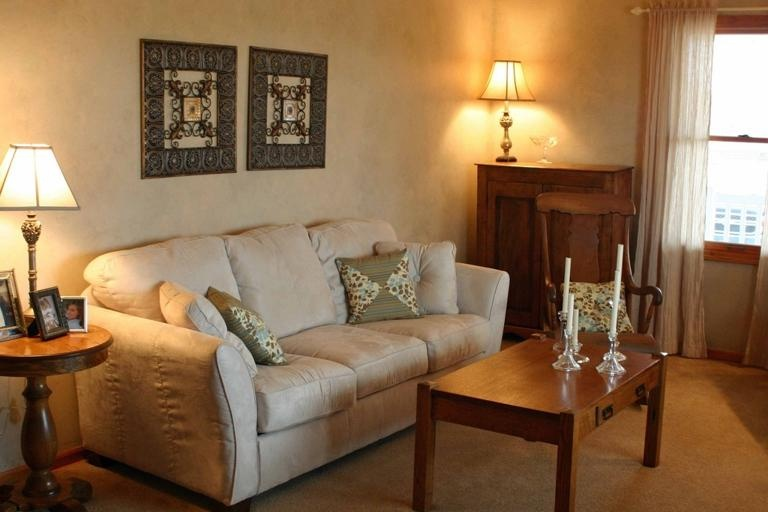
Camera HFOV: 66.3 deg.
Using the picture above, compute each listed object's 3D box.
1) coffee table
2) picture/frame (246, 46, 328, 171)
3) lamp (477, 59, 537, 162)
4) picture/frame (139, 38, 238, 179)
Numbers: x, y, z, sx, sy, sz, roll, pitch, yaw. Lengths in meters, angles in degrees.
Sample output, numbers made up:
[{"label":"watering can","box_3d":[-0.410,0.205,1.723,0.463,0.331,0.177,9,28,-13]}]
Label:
[{"label":"coffee table","box_3d":[0.763,0.475,3.040,0.833,0.677,1.267,6,11,35]},{"label":"picture/frame","box_3d":[-0.714,-1.076,4.362,0.082,0.863,0.722,7,12,41]},{"label":"lamp","box_3d":[1.222,-1.460,5.925,0.609,0.921,0.578,1,15,9]},{"label":"picture/frame","box_3d":[-1.298,-0.981,3.816,0.059,1.043,0.930,10,12,40]}]
